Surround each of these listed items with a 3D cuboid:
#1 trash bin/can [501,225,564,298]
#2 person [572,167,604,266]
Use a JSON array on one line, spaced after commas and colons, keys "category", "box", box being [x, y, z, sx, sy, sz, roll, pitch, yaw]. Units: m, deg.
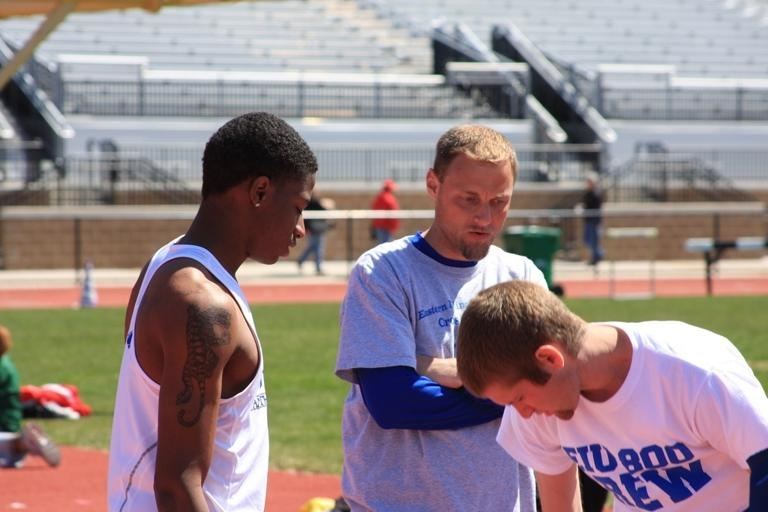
[{"category": "trash bin/can", "box": [4.706, 0.142, 53.308, 2.090, 2.743, 1.858, 0, 2, -13]}, {"category": "person", "box": [7.074, -1.169, 60.177, 1.160, 1.275, 3.589, 3, 44, 11]}]
